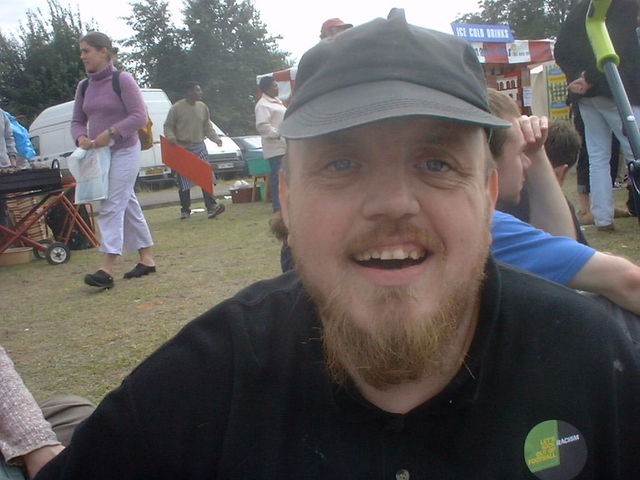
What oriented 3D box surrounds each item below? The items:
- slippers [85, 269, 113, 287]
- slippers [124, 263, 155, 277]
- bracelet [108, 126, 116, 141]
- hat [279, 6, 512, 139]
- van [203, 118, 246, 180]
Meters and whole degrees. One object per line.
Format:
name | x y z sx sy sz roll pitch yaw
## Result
slippers | -1.965 0.340 5.621 0.121 0.099 0.232 3 -7 8
slippers | -1.755 0.301 6.251 0.327 0.139 0.118 -5 5 -44
bracelet | -1.918 -0.982 5.837 0.070 0.116 0.101 -13 13 -7
hat | 0.204 -0.489 1.906 0.557 0.353 0.754 0 -2 -18
van | -2.799 -2.348 17.900 1.133 1.078 2.094 -11 13 -24
